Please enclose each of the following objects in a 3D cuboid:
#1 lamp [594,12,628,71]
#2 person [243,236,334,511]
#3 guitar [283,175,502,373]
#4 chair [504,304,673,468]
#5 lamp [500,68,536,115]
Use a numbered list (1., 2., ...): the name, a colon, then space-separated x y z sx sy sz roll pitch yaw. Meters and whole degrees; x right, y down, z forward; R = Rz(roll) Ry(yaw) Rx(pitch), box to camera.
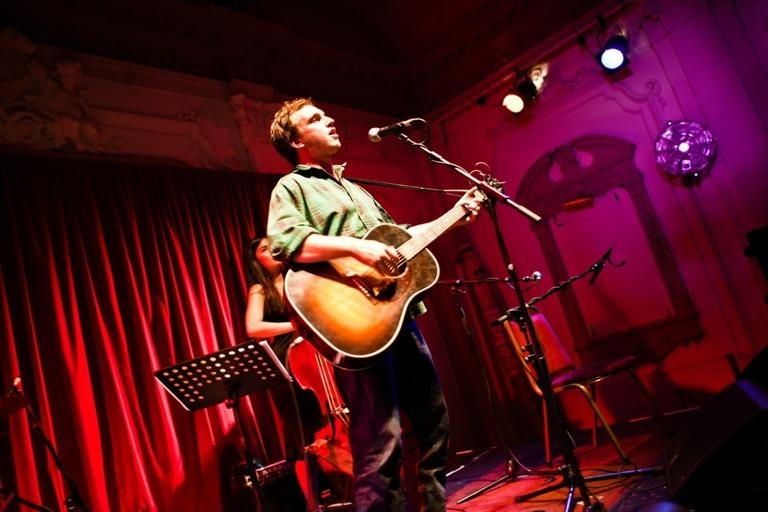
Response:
1. lamp: 2.542 -2.457 6.422 0.268 0.661 0.363 -28 -27 26
2. person: -0.939 0.961 4.795 0.498 2.165 0.879 -15 0 18
3. guitar: 0.129 -0.002 3.554 1.621 0.768 0.198 -37 -22 -30
4. chair: 1.870 1.136 5.331 0.871 1.473 1.054 -8 -14 -37
5. lamp: 1.676 -2.036 6.922 0.421 0.513 0.225 -16 -13 26
